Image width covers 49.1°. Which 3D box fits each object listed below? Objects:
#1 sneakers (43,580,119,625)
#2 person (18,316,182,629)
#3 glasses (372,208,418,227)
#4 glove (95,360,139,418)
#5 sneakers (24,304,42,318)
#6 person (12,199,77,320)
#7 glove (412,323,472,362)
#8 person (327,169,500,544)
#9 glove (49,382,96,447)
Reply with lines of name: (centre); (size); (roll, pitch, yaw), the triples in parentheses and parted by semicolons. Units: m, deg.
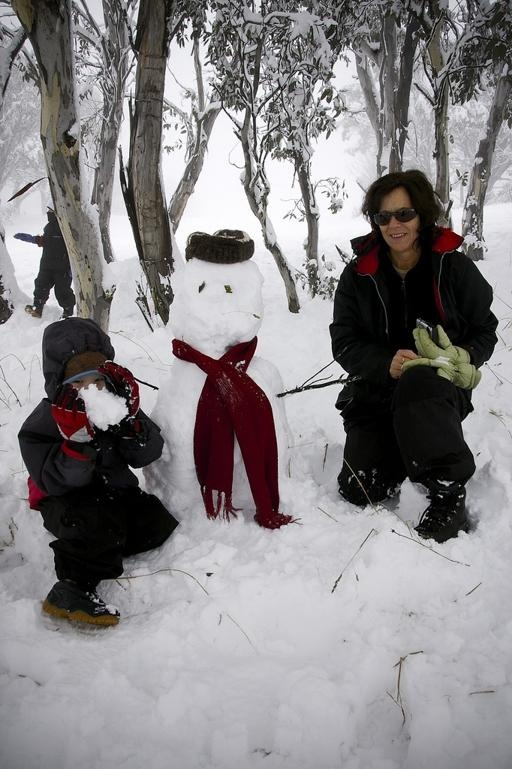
sneakers: (-0.561, 0.724, 1.884); (0.282, 0.127, 0.105); (3, -13, 21)
person: (-0.641, 0.258, 2.035); (0.507, 0.955, 0.648); (1, 14, 16)
glasses: (0.597, -0.718, 2.409); (0.178, 0.072, 0.080); (0, 13, 14)
glove: (-0.484, 0.001, 2.134); (0.084, 0.206, 0.152); (-26, 7, -36)
sneakers: (-2.660, -0.878, 6.720); (0.053, 0.135, 0.131); (-55, 1, -26)
person: (-2.526, -1.431, 6.768); (0.551, 1.282, 1.645); (-8, 14, -18)
glove: (0.740, -0.153, 2.277); (0.198, 0.060, 0.157); (36, 12, 29)
person: (0.592, -0.187, 2.378); (0.725, 1.433, 0.852); (4, 15, 28)
glove: (-0.641, 0.106, 1.970); (0.086, 0.190, 0.147); (-14, 3, 0)
